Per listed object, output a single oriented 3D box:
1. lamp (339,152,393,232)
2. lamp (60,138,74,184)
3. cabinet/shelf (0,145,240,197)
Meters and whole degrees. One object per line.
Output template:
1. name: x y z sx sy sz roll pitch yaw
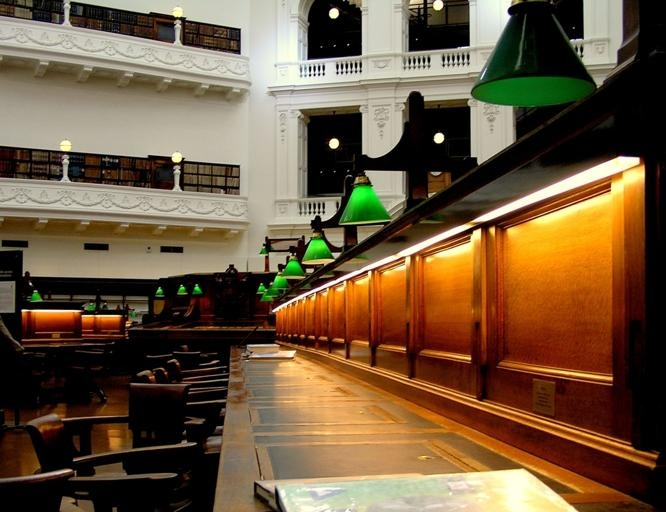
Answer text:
1. lamp: 0.151 -0.322 3.223 0.259 0.270 0.259 2 13 35
2. lamp: -6.709 -2.331 15.829 0.257 1.085 0.632 -2 -1 -23
3. cabinet/shelf: -5.487 -2.203 16.569 5.811 1.180 0.334 -2 -2 -24
